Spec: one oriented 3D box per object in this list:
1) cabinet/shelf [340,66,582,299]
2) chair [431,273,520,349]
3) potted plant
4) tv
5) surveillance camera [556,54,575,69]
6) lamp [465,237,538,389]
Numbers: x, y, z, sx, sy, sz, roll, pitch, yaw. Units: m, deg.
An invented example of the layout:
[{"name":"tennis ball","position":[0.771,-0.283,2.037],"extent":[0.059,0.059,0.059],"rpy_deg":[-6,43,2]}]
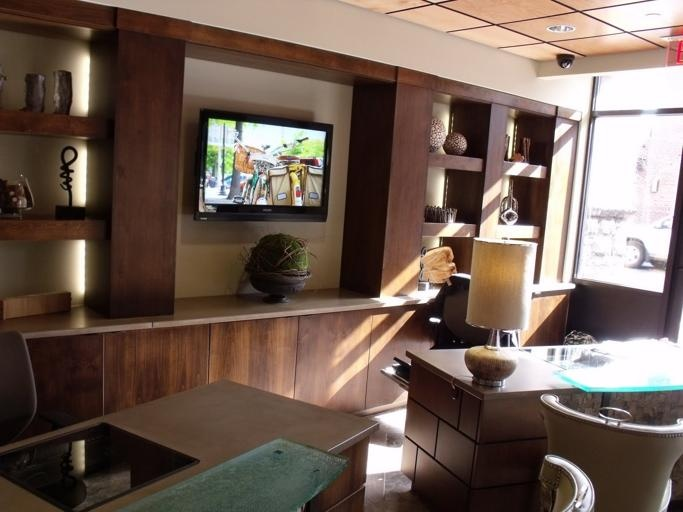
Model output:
[{"name":"cabinet/shelf","position":[1.211,-0.683,5.259],"extent":[2.494,1.979,0.642],"rpy_deg":[-2,11,-29]},{"name":"chair","position":[0.904,0.380,3.518],"extent":[0.344,0.595,0.639],"rpy_deg":[-3,6,-21]},{"name":"potted plant","position":[-0.538,0.083,4.194],"extent":[0.531,0.503,0.536],"rpy_deg":[2,1,45]},{"name":"tv","position":[-0.678,-0.745,4.223],"extent":[1.025,0.690,0.074],"rpy_deg":[1,14,-35]},{"name":"surveillance camera","position":[2.207,-1.915,5.170],"extent":[0.137,0.101,0.137],"rpy_deg":[1,7,10]},{"name":"lamp","position":[0.886,0.318,2.975],"extent":[0.337,0.823,0.265],"rpy_deg":[6,10,16]}]
